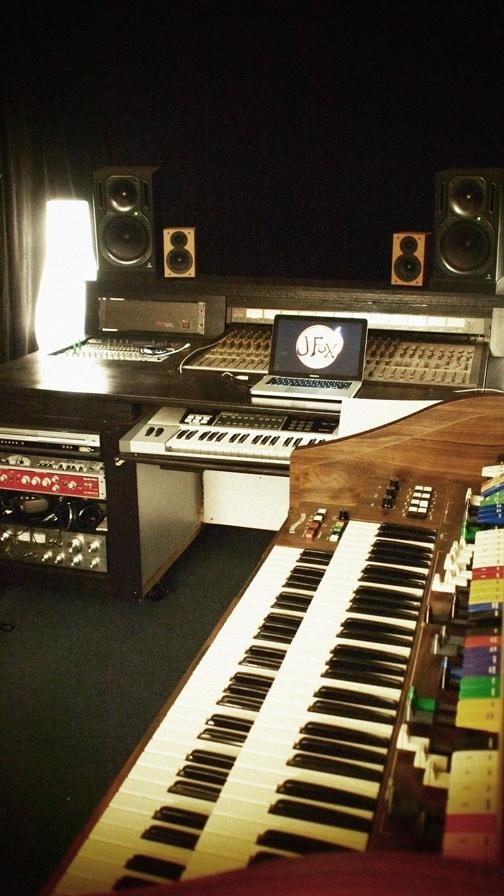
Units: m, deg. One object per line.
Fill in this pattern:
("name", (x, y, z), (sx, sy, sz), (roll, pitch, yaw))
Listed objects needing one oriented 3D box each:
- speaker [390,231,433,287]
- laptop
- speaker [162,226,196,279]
("speaker", (0.756, -0.896, 3.133), (0.189, 0.359, 0.247), (3, 19, 17))
("laptop", (0.276, -0.381, 2.759), (0.446, 0.298, 0.413), (7, 36, 14))
("speaker", (-0.376, -1.018, 3.434), (0.164, 0.254, 0.084), (0, 14, -2))
